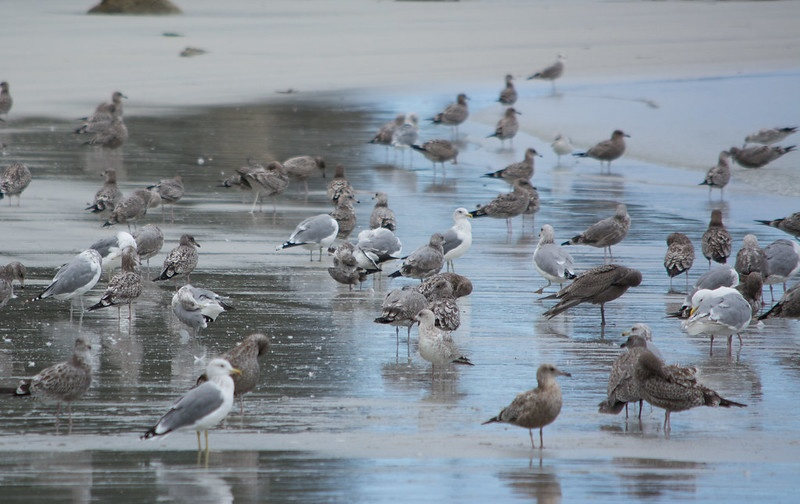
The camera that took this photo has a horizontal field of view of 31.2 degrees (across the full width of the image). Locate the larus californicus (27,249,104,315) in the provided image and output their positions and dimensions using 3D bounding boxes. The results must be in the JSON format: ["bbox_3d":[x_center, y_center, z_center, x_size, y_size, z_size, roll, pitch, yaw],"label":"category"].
[{"bbox_3d":[-8.004,0.699,35.388,0.801,1.028,1.649,29,44,29],"label":"larus californicus"}]
